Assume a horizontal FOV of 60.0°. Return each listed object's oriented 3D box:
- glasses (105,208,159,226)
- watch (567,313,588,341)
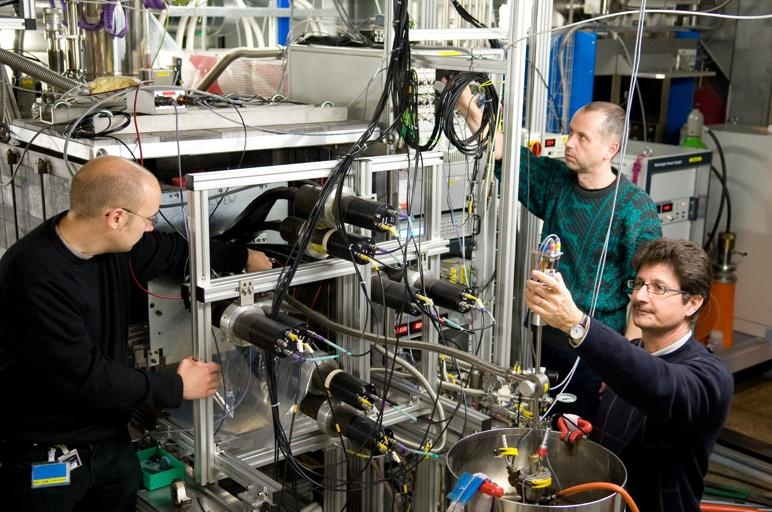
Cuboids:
[{"bbox_3d":[-0.924,-0.146,2.443,0.179,0.077,0.061,-10,14,-39],"label":"glasses"},{"bbox_3d":[0.637,0.236,2.234,0.053,0.088,0.080,21,8,31],"label":"watch"}]
